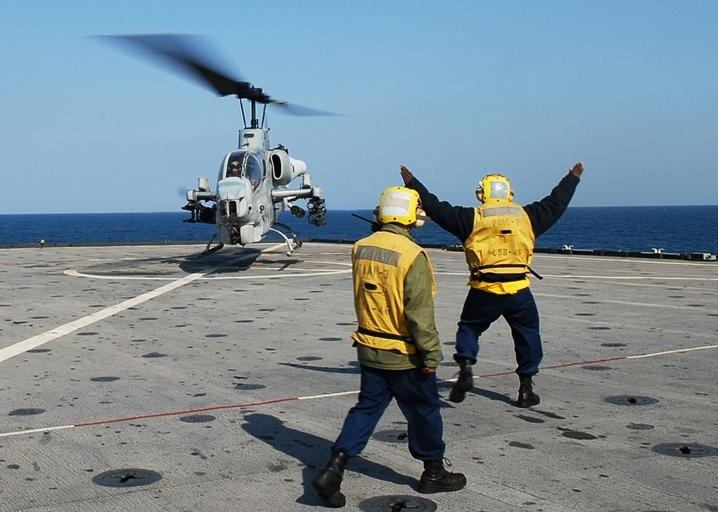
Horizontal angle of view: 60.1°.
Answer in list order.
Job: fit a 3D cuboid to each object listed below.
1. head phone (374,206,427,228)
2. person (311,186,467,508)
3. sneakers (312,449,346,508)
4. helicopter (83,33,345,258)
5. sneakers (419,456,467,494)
[{"bbox_3d":[0.377,-0.300,4.920,0.444,0.135,0.427,2,-6,6],"label":"head phone"},{"bbox_3d":[0.229,0.595,4.522,1.034,2.169,0.732,-2,8,-9],"label":"person"},{"bbox_3d":[-0.195,1.536,4.348,0.239,0.335,0.270,-1,7,-1],"label":"sneakers"},{"bbox_3d":[-3.721,-2.693,17.553,5.736,2.867,7.102,0,6,1],"label":"helicopter"},{"bbox_3d":[0.661,1.567,4.478,0.394,0.203,0.144,-18,-32,31],"label":"sneakers"}]
